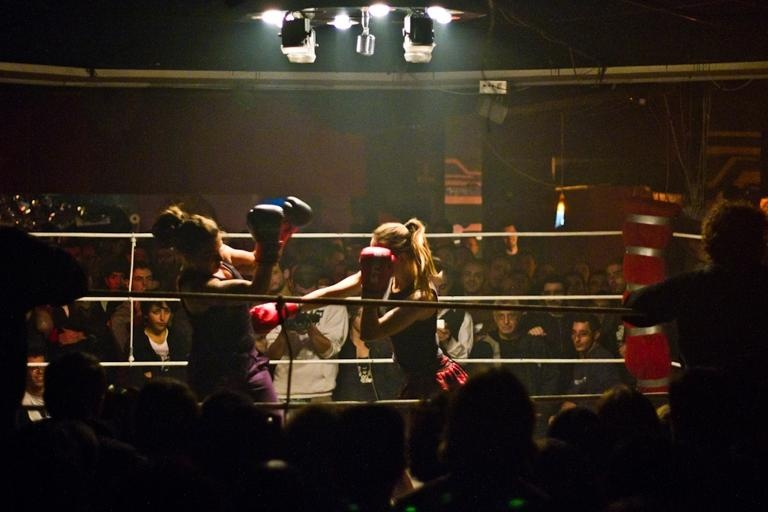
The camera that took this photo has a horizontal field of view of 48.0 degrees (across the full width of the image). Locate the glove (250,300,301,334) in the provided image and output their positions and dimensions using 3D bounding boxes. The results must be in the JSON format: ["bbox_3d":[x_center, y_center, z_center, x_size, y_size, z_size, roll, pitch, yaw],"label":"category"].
[{"bbox_3d":[-0.784,0.422,6.209,0.344,0.139,0.252,-14,4,-18],"label":"glove"}]

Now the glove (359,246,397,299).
[{"bbox_3d":[-0.047,0.118,6.057,0.279,0.308,0.332,5,-7,6],"label":"glove"}]
